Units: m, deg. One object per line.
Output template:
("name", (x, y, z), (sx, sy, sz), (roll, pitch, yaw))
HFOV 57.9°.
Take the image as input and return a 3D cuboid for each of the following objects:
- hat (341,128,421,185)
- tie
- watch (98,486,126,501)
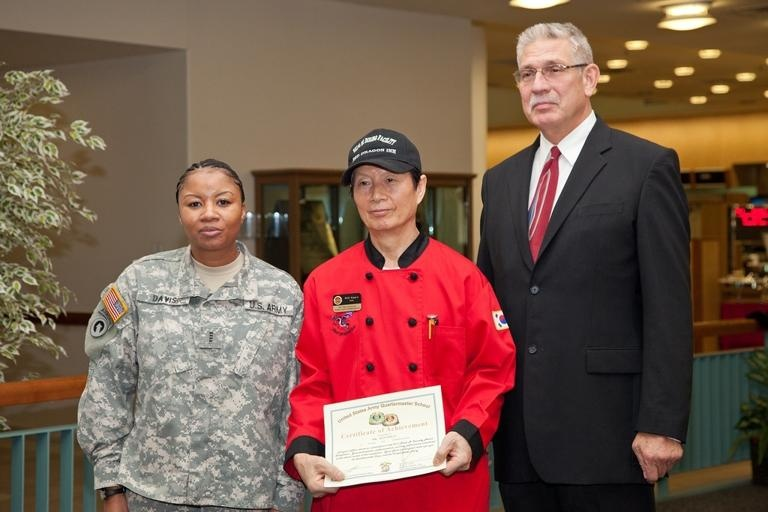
("hat", (-0.004, -0.456, 3.122), (0.309, 0.228, 0.421), (-3, -2, 5))
("tie", (0.746, -0.234, 3.176), (0.150, 0.517, 0.034), (5, -21, 32))
("watch", (-1.205, 1.043, 3.073), (0.071, 0.030, 0.073), (-2, -8, -5))
